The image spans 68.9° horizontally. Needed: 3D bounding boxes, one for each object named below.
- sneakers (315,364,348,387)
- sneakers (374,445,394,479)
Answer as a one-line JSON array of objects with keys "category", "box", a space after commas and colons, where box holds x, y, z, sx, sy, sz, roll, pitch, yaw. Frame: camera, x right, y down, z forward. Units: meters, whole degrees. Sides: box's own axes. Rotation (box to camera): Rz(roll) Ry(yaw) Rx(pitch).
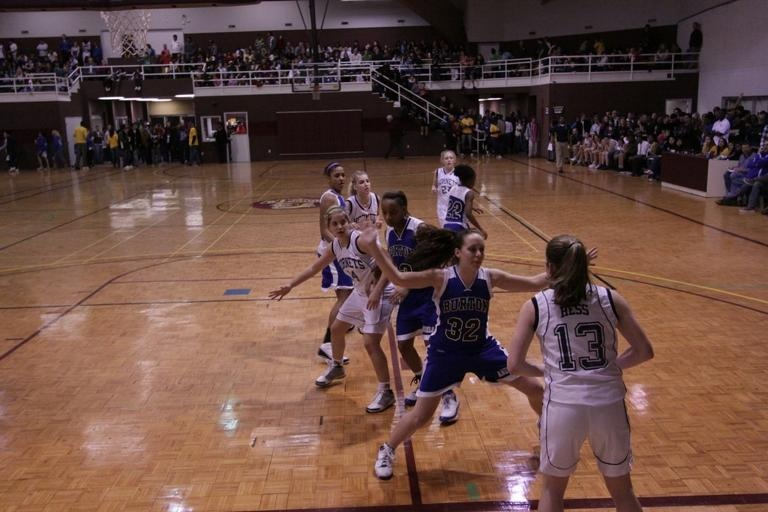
[{"category": "sneakers", "box": [-0.651, 1.447, 6.827, 0.451, 0.275, 0.171, -1, 3, -20]}, {"category": "sneakers", "box": [0.009, 1.924, 5.392, 0.174, 0.178, 0.425, 1, 22, 10]}]
